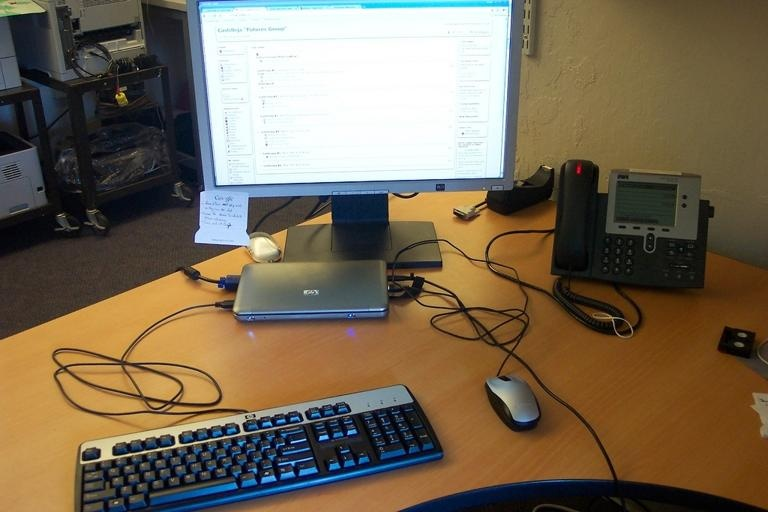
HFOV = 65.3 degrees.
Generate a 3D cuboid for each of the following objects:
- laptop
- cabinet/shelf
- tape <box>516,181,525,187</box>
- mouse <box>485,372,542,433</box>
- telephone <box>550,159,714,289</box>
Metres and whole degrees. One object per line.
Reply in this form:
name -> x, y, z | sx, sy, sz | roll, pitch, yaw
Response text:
laptop -> -0.182, 0.084, 1.442 | 0.276, 0.037, 0.168 | -2, 43, 0
cabinet/shelf -> -1.416, -0.779, 3.345 | 0.730, 0.994, 0.861 | -26, 54, -28
tape -> 0.405, -0.218, 1.793 | 0.019, 0.009, 0.027 | 0, 32, 15
mouse -> 0.269, 0.295, 1.258 | 0.092, 0.055, 0.157 | -6, 28, -13
telephone -> 0.633, -0.091, 1.522 | 0.373, 0.301, 0.189 | 3, 30, 17
